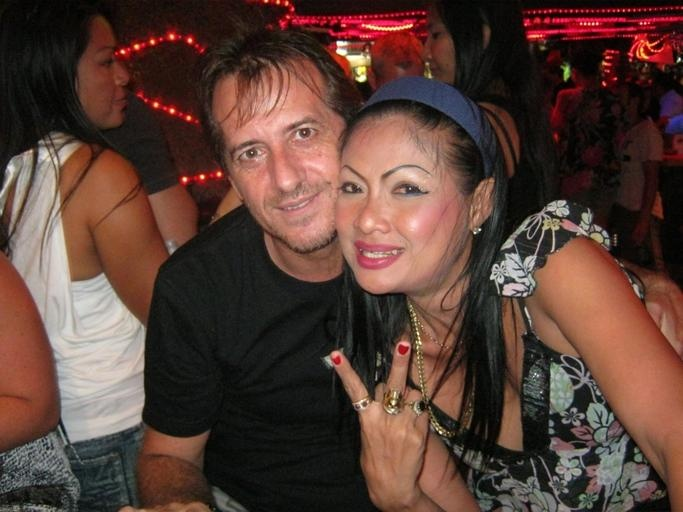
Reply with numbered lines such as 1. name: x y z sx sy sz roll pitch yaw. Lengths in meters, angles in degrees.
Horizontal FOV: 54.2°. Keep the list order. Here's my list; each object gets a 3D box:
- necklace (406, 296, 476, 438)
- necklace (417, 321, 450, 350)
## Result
1. necklace: 0.419 0.561 3.153 0.241 0.732 0.036 -13 -9 -3
2. necklace: 0.438 0.398 3.243 0.055 0.072 0.220 -13 47 -32
